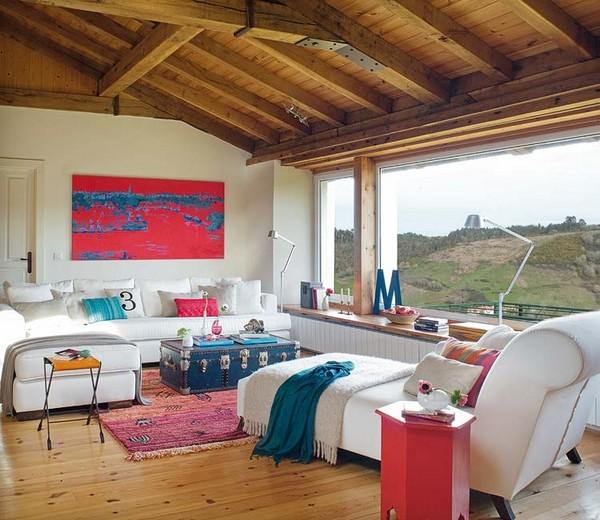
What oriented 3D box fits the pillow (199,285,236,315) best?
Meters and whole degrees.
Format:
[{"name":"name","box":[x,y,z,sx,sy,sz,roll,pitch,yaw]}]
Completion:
[{"name":"pillow","box":[-1.103,0.554,6.201,0.466,0.330,0.142,3,-22,-16]}]

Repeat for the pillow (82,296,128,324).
[{"name":"pillow","box":[-2.383,0.586,5.609,0.146,0.254,0.522,-33,-20,37]}]

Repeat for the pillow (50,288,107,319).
[{"name":"pillow","box":[-2.704,0.509,5.514,0.135,0.361,0.461,-32,-20,36]}]

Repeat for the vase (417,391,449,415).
[{"name":"vase","box":[0.617,0.643,2.120,0.141,0.063,0.120,0,-3,-2]}]

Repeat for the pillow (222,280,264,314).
[{"name":"pillow","box":[-0.799,0.529,6.404,0.538,0.361,0.224,2,-36,-9]}]

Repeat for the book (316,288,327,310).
[{"name":"book","box":[0.311,0.560,6.593,0.146,0.289,0.184,1,-1,2]}]

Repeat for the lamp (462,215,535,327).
[{"name":"lamp","box":[1.968,0.083,4.410,0.505,1.092,0.987,1,-1,21]}]

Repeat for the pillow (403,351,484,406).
[{"name":"pillow","box":[0.854,0.674,2.740,0.130,0.267,0.468,50,-24,-21]}]

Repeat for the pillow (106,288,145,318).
[{"name":"pillow","box":[-2.293,0.582,6.034,0.149,0.360,0.470,-30,-19,33]}]

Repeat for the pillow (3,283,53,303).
[{"name":"pillow","box":[-3.117,0.372,5.327,0.344,0.110,0.296,1,33,-32]}]

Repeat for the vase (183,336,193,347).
[{"name":"vase","box":[-1.100,0.795,4.558,0.141,0.097,0.120,1,-1,-5]}]
